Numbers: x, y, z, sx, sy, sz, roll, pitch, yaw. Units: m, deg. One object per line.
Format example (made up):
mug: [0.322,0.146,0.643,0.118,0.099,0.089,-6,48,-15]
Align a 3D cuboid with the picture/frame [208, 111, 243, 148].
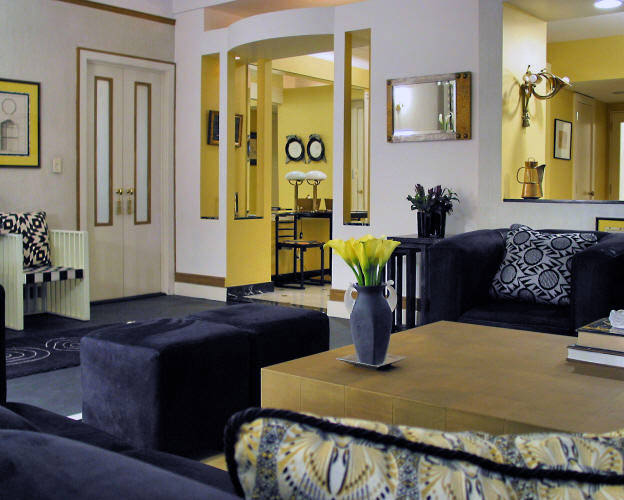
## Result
picture/frame: [-1.067,-1.433,6.057,0.063,0.429,0.474,13,15,43]

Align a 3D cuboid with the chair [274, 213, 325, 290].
chair: [-0.217,-0.018,7.353,0.732,1.038,1.234,-2,5,-3]

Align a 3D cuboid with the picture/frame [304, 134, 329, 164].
picture/frame: [0.099,-1.927,9.746,0.532,0.742,0.079,1,2,30]

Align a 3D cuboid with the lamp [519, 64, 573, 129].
lamp: [2.224,-1.455,4.817,0.519,0.463,0.450,11,25,42]

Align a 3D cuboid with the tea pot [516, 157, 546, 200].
tea pot: [1.996,-0.641,4.636,0.232,0.369,0.454,0,5,22]

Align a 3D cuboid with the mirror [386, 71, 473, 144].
mirror: [1.017,-1.265,4.564,0.738,0.583,0.047,2,18,23]

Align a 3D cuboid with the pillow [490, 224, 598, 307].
pillow: [1.541,0.112,3.451,0.772,0.762,0.419,2,-4,34]

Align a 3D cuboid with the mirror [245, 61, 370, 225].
mirror: [-0.019,-1.705,7.971,0.898,2.787,2.723,-1,2,-42]

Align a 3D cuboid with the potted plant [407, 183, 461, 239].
potted plant: [1.001,-0.301,4.401,0.442,0.472,0.458,0,-1,40]

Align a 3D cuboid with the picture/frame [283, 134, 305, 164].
picture/frame: [-0.360,-1.972,9.917,0.430,0.480,0.109,4,3,31]

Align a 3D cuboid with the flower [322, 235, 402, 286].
flower: [0.162,0.037,1.600,0.212,0.163,0.180,-1,5,12]
